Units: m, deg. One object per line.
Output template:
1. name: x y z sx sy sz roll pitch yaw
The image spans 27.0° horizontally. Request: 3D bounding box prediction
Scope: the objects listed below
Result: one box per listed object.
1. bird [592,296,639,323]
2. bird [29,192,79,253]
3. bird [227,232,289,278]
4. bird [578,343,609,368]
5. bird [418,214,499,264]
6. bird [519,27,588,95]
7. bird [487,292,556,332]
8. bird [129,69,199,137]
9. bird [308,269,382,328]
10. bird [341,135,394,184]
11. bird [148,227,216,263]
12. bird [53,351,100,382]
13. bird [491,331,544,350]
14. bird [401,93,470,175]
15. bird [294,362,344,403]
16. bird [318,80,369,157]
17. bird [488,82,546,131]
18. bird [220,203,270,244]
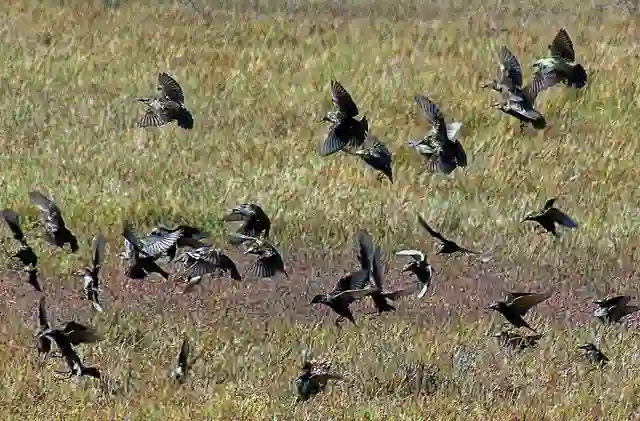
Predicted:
1. bird: 5.408 1.807 24.351 0.439 0.654 0.315 -3 84 -13
2. bird: -4.779 0.348 24.131 0.853 0.942 1.335 -6 35 -13
3. bird: -1.062 0.793 23.548 0.684 0.607 1.063 -16 35 16
4. bird: 4.969 2.577 24.003 0.451 0.382 0.228 18 76 3
5. bird: 2.448 0.576 24.202 1.139 0.383 0.634 -1 33 38
6. bird: 4.420 -2.685 24.740 1.025 0.538 1.596 24 82 22
7. bird: 3.456 1.854 23.926 1.008 1.343 0.688 8 82 -1
8. bird: -2.900 -1.779 25.501 1.179 0.575 1.662 14 73 15
9. bird: 0.474 1.457 23.272 0.829 1.595 0.615 -6 87 -2
10. bird: 0.947 -1.029 24.283 0.781 0.497 1.082 -16 39 17
11. bird: -2.469 0.505 23.844 0.686 0.849 0.352 -37 93 -26
12. bird: -4.215 2.691 23.207 0.809 0.742 0.493 -4 92 32
13. bird: 3.656 2.317 24.284 0.949 0.337 0.489 -6 81 10
14. bird: 2.205 -1.241 24.490 1.028 1.530 1.053 1 54 -3
15. bird: -0.002 3.188 23.279 0.597 0.851 0.355 -30 63 -16
16. bird: 0.449 -1.465 24.276 0.936 1.741 0.669 10 47 -6
17. bird: 3.843 -1.826 24.938 0.775 0.484 1.109 -4 22 18
18. bird: -1.297 0.216 24.059 0.319 0.765 0.713 -2 9 32
